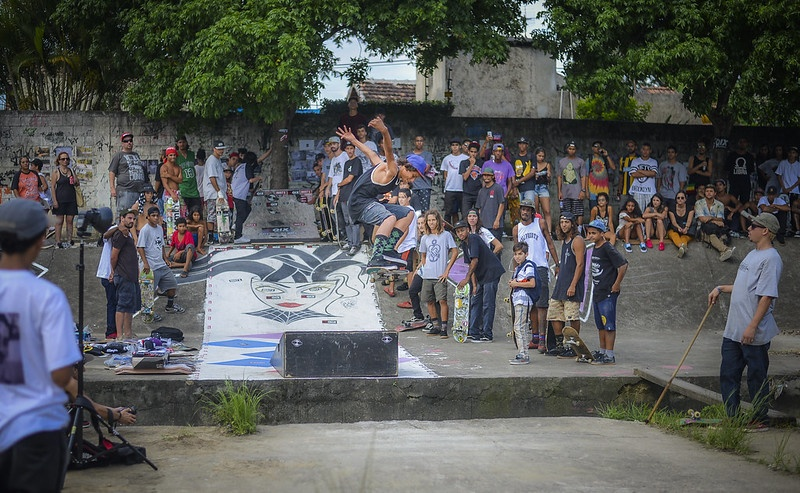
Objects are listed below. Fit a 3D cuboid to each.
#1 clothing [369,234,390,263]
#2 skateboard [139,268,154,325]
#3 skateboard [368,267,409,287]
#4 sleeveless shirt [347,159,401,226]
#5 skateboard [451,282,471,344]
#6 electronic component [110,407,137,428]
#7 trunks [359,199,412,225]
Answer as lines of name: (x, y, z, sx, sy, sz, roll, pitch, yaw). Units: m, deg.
clothing: (-0.438, 0.030, 20.628, 0.337, 0.572, 0.217, 3, 3, 32)
skateboard: (-5.328, 1.035, 21.083, 0.291, 1.123, 0.391, 1, 2, -15)
skateboard: (-0.184, 0.650, 22.475, 1.036, 0.412, 0.354, -2, -3, 10)
sleeveless shirt: (-0.526, -1.141, 21.002, 0.781, 1.291, 1.030, 12, 19, -40)
skateboard: (1.305, 1.327, 20.512, 0.351, 1.167, 0.164, 4, 10, 25)
electronic component: (-4.503, 2.870, 16.395, 0.463, 0.228, 0.625, 3, 3, -8)
trunks: (-0.345, -0.728, 20.772, 0.763, 0.323, 0.581, -16, 5, -14)
